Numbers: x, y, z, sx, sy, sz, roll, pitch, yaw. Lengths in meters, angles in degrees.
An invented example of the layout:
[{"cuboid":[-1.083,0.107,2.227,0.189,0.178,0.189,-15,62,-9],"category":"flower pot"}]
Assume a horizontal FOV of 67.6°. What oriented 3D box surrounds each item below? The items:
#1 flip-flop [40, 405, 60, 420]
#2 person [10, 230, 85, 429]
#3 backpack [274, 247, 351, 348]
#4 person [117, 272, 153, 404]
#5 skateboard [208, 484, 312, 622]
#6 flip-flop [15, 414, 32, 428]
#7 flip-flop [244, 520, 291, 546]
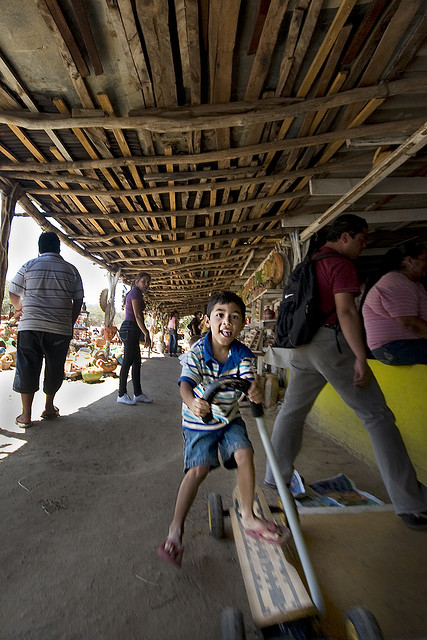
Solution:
[{"cuboid":[-1.895,1.092,3.752,0.147,0.181,0.436,11,-14,-14],"category":"flip-flop"},{"cuboid":[-1.801,0.077,3.508,0.434,2.136,0.641,0,-3,39],"category":"person"},{"cuboid":[0.596,-0.142,2.128,0.235,0.669,0.473,3,-3,-27],"category":"backpack"},{"cuboid":[-1.115,0.269,4.786,0.509,1.979,0.866,3,-2,-12],"category":"person"},{"cuboid":[0.193,0.910,1.208,0.132,0.082,0.494,-16,10,-5],"category":"skateboard"},{"cuboid":[-1.976,1.077,3.355,0.158,0.091,0.110,2,-2,-12],"category":"flip-flop"},{"cuboid":[0.242,0.920,1.410,0.155,0.035,0.086,0,1,29],"category":"flip-flop"}]
